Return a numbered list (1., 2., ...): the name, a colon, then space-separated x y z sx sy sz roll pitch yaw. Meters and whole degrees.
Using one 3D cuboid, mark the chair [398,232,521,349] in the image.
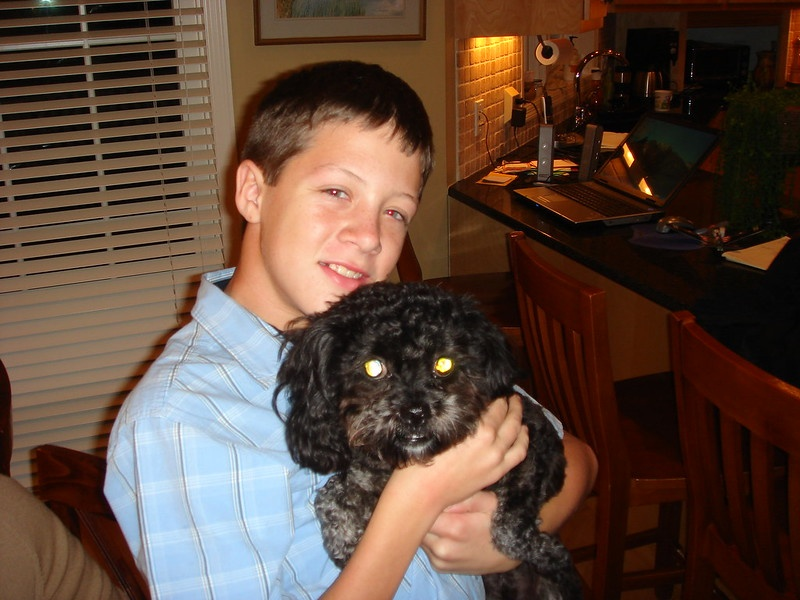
1. chair: 0.329 -0.052 3.966 0.737 1.058 0.631 1 34 7
